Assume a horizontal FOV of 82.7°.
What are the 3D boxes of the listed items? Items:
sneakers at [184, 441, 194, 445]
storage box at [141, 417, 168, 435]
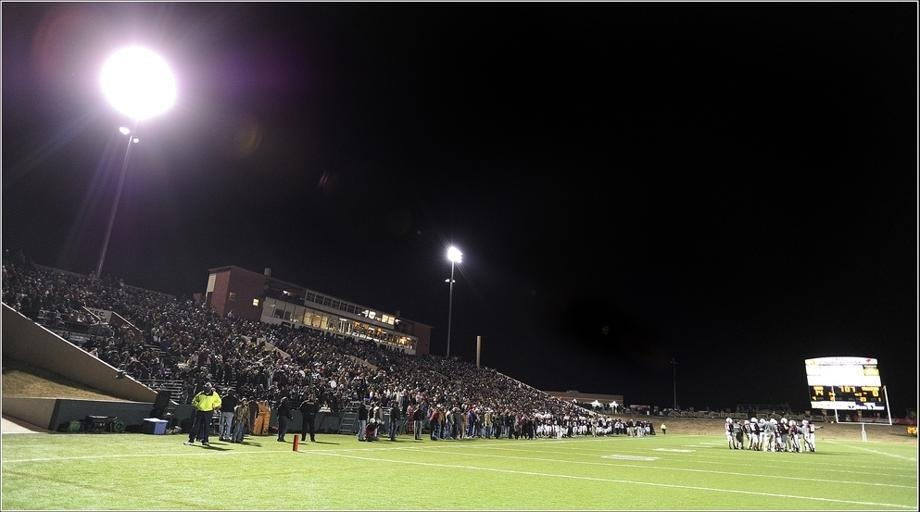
[{"bbox_3d":[-11.620,8.096,22.290,0.437,0.168,0.158,2,-22,25],"label":"sneakers"},{"bbox_3d":[-14.180,7.985,24.253,0.874,0.574,0.857,-3,-9,25],"label":"storage box"}]
